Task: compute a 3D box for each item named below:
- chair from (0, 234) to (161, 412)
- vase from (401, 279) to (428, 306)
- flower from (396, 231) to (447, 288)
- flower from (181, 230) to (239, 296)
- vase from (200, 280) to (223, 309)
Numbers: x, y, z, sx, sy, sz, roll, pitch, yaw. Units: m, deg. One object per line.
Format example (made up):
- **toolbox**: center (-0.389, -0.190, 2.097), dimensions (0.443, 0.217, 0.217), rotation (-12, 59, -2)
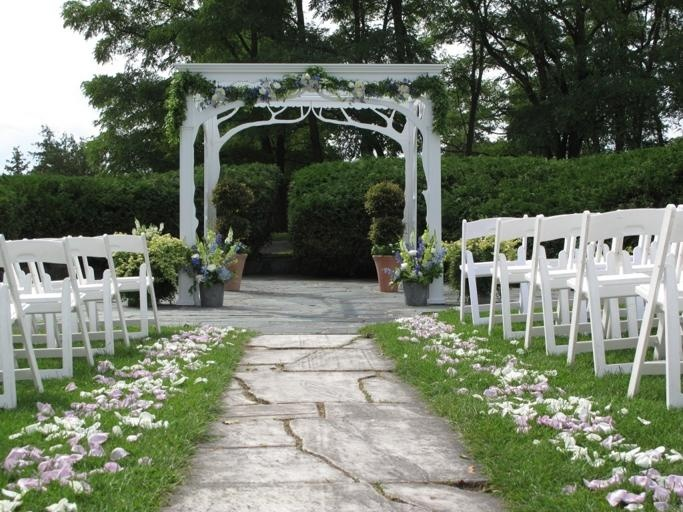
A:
- **chair**: center (-2.595, 0.380, 6.788), dimensions (0.944, 1.430, 1.798), rotation (0, 1, 7)
- **vase**: center (0.983, 0.474, 10.232), dimensions (0.311, 0.270, 0.310), rotation (0, -2, -4)
- **flower**: center (1.055, 0.103, 10.421), dimensions (0.671, 0.864, 0.698), rotation (3, -6, -5)
- **flower**: center (-1.781, 0.091, 10.445), dimensions (0.712, 0.926, 0.718), rotation (1, -6, -12)
- **vase**: center (-1.726, 0.509, 10.176), dimensions (0.301, 0.267, 0.302), rotation (0, -2, 12)
